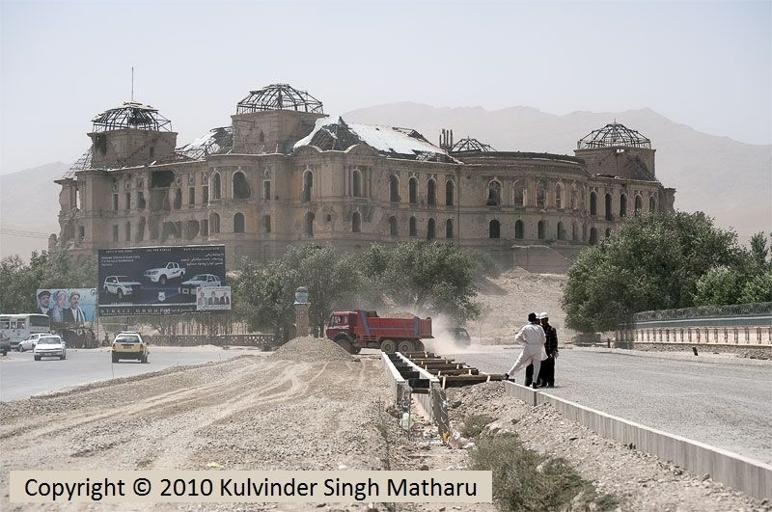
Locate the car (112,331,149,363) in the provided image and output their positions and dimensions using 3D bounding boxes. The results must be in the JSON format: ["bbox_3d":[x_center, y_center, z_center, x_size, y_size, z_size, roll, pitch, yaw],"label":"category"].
[{"bbox_3d":[-16.880,6.116,89.662,1.398,1.321,2.937,0,2,-4],"label":"car"}]

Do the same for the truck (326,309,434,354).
[{"bbox_3d":[-0.163,5.081,90.540,7.654,3.314,2.889,2,-2,25],"label":"truck"}]
